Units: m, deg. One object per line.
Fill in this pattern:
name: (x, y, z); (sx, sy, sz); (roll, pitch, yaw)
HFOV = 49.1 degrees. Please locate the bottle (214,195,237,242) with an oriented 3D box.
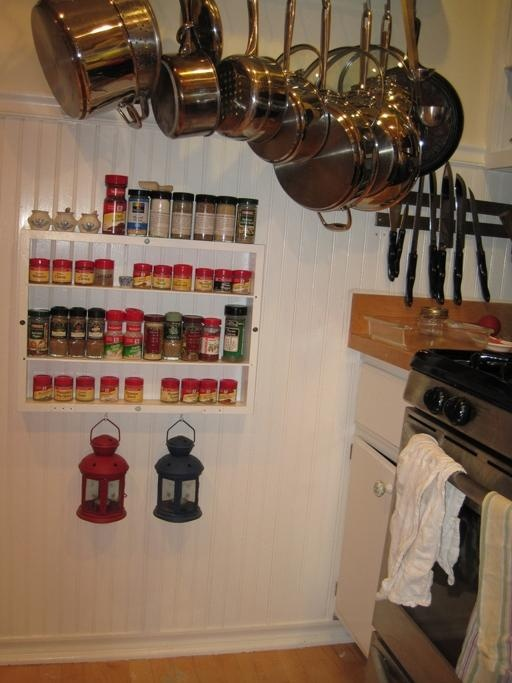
bottle: (-0.082, -0.339, 1.553); (0.061, 0.122, 0.043); (1, 7, -8)

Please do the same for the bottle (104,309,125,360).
bottle: (-0.389, -0.020, 1.540); (0.055, 0.133, 0.041); (0, 7, -14)

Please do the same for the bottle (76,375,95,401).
bottle: (-0.477, 0.132, 1.614); (0.065, 0.071, 0.065); (3, 6, -5)

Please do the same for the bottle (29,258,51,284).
bottle: (-0.570, -0.186, 1.471); (0.063, 0.066, 0.062); (2, 3, -22)

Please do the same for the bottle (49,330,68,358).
bottle: (-0.531, 0.006, 1.509); (0.047, 0.069, 0.039); (-1, 7, -27)

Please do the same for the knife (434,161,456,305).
knife: (0.612, -0.361, 1.812); (0.063, 0.418, 0.023); (3, 21, 13)

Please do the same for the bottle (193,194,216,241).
bottle: (-0.144, -0.342, 1.550); (0.064, 0.122, 0.047); (2, 7, 2)

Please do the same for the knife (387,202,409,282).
knife: (0.456, -0.321, 1.792); (0.066, 0.239, 0.020); (0, 18, -6)

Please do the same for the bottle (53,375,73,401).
bottle: (-0.533, 0.126, 1.549); (0.065, 0.071, 0.065); (2, 2, -33)

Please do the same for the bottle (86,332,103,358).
bottle: (-0.437, 0.013, 1.519); (0.059, 0.085, 0.058); (1, -2, 0)

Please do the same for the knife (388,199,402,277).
knife: (0.442, -0.322, 1.787); (0.041, 0.225, 0.012); (2, 12, -5)

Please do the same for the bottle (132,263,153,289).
bottle: (-0.312, -0.180, 1.534); (0.065, 0.071, 0.065); (6, 7, 44)

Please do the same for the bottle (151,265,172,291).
bottle: (-0.256, -0.176, 1.530); (0.063, 0.068, 0.062); (5, 5, 26)

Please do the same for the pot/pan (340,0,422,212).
pot/pan: (0.280, -0.464, 1.243); (0.175, 0.470, 0.072); (-1, 8, -21)

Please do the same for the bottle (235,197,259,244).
bottle: (-0.029, -0.337, 1.572); (0.055, 0.124, 0.062); (2, 7, -3)

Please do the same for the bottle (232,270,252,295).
bottle: (-0.040, -0.169, 1.590); (0.066, 0.070, 0.065); (1, 7, -11)

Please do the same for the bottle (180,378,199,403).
bottle: (-0.191, 0.143, 1.666); (0.064, 0.070, 0.064); (5, 6, 39)

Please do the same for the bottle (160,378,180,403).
bottle: (-0.248, 0.141, 1.668); (0.066, 0.071, 0.065); (-2, 7, -20)

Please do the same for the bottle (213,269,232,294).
bottle: (-0.093, -0.172, 1.586); (0.062, 0.067, 0.062); (-1, 7, -20)

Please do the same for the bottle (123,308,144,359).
bottle: (-0.338, -0.021, 1.546); (0.054, 0.139, 0.035); (1, 7, -12)

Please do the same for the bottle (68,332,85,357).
bottle: (-0.486, 0.007, 1.518); (0.045, 0.069, 0.028); (0, 7, -19)

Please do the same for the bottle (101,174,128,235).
bottle: (-0.378, -0.366, 1.499); (0.056, 0.151, 0.032); (-1, 7, -23)

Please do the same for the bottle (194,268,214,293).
bottle: (-0.146, -0.173, 1.567); (0.066, 0.071, 0.065); (2, 7, -7)

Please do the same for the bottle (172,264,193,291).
bottle: (-0.204, -0.176, 1.548); (0.052, 0.072, 0.062); (1, 7, -12)

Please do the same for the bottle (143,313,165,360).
bottle: (-0.284, -0.011, 1.564); (0.057, 0.126, 0.029); (1, 7, -9)

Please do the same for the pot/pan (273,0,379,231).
pot/pan: (0.172, -0.408, 1.195); (0.075, 0.508, 0.266); (-7, 17, -31)

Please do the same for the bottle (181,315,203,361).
bottle: (-0.181, -0.010, 1.593); (0.059, 0.126, 0.026); (1, 7, -7)

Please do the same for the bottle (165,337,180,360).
bottle: (-0.233, 0.020, 1.568); (0.054, 0.058, 0.053); (1, 8, -15)

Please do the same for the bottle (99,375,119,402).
bottle: (-0.417, 0.134, 1.592); (0.050, 0.070, 0.044); (0, 7, -21)

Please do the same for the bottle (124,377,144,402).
bottle: (-0.348, 0.139, 1.646); (0.064, 0.070, 0.064); (3, 5, -3)

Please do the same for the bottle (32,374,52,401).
bottle: (-0.592, 0.127, 1.549); (0.052, 0.071, 0.045); (-1, 7, -25)

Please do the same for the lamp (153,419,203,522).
lamp: (-0.236, 0.407, 1.693); (0.142, 0.253, 0.142); (1, 7, -10)

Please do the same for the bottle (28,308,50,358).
bottle: (-0.579, -0.025, 1.490); (0.056, 0.121, 0.027); (-1, 7, -22)

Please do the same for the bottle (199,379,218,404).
bottle: (-0.136, 0.141, 1.641); (0.066, 0.072, 0.065); (4, 3, 0)

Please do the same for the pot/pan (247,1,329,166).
pot/pan: (0.060, -0.498, 1.144); (0.047, 0.320, 0.177); (-11, 13, -32)

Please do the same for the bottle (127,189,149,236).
bottle: (-0.316, -0.346, 1.504); (0.058, 0.120, 0.041); (1, 7, -12)

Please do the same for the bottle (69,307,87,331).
bottle: (-0.479, -0.058, 1.512); (0.046, 0.068, 0.031); (-1, 7, -22)

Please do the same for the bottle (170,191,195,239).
bottle: (-0.207, -0.346, 1.562); (0.057, 0.123, 0.121); (1, 7, -9)

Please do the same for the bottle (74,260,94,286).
bottle: (-0.461, -0.185, 1.501); (0.066, 0.072, 0.065); (2, 1, -14)

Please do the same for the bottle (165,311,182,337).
bottle: (-0.227, -0.047, 1.561); (0.049, 0.069, 0.036); (-1, 7, -23)

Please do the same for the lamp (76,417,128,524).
lamp: (-0.447, 0.400, 1.624); (0.143, 0.260, 0.113); (0, 7, -14)

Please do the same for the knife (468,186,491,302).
knife: (0.752, -0.293, 1.859); (0.059, 0.491, 0.025); (-7, 22, 2)

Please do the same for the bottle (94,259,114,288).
bottle: (-0.413, -0.182, 1.522); (0.069, 0.111, 0.078); (-1, 4, -16)

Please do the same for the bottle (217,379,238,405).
bottle: (-0.083, 0.148, 1.702); (0.068, 0.072, 0.068); (2, 9, 8)

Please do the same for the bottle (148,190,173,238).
bottle: (-0.258, -0.345, 1.512); (0.058, 0.120, 0.030); (1, 7, -12)
